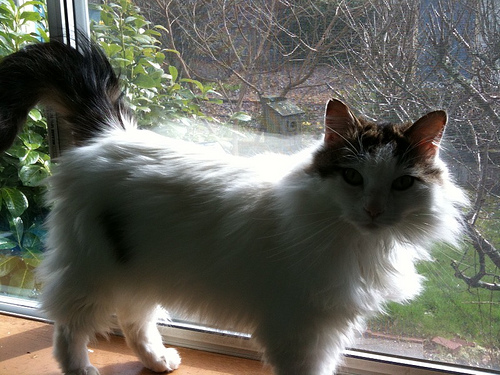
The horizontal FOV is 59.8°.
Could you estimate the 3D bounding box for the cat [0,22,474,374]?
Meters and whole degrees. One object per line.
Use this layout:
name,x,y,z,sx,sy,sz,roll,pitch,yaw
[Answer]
cat,0.006,0.038,1.402,1.324,0.833,0.463,7,1,8

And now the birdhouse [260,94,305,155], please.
birdhouse,0.119,-0.248,1.631,0.140,0.188,0.142,6,21,22
